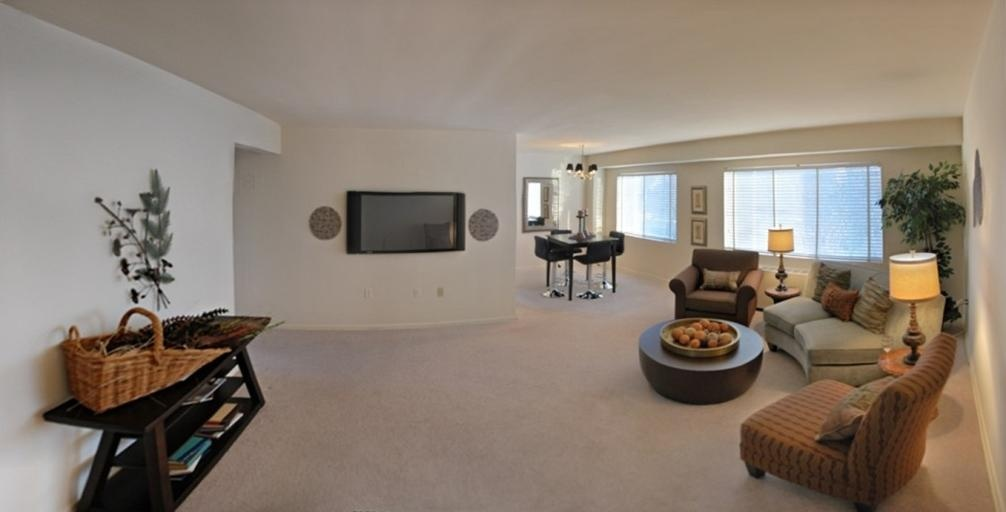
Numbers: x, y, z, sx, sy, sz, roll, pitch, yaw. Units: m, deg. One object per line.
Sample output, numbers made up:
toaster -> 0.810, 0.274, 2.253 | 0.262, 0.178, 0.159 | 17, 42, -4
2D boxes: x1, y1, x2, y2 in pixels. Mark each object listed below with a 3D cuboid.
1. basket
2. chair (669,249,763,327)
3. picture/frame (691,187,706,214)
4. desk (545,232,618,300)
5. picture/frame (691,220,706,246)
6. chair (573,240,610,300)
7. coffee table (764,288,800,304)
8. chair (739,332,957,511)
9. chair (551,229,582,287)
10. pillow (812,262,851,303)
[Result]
basket -> -3.752, 1.024, 5.739 | 1.321, 0.986, 0.499 | -3, 7, -22
chair -> 3.452, 0.447, 8.984 | 1.270, 1.051, 1.126 | 3, 7, 27
picture/frame -> 3.763, -1.087, 10.752 | 0.077, 0.532, 0.351 | -4, 7, -24
desk -> 1.556, 0.124, 11.145 | 1.679, 0.896, 1.582 | 1, 4, -11
picture/frame -> 3.794, -0.471, 10.797 | 0.058, 0.517, 0.377 | -4, 8, -26
chair -> 1.800, 0.205, 11.039 | 0.680, 1.060, 1.613 | 1, 6, 10
coffee table -> 4.416, 0.571, 8.798 | 0.359, 0.365, 0.369 | 9, 16, 44
chair -> 3.505, 1.715, 6.200 | 2.145, 1.649, 1.981 | -12, 9, -36
chair -> 1.267, 0.043, 11.163 | 0.629, 0.835, 1.249 | -1, 4, -8
pillow -> 4.902, 0.373, 8.099 | 0.223, 0.501, 0.527 | 15, 5, -13
